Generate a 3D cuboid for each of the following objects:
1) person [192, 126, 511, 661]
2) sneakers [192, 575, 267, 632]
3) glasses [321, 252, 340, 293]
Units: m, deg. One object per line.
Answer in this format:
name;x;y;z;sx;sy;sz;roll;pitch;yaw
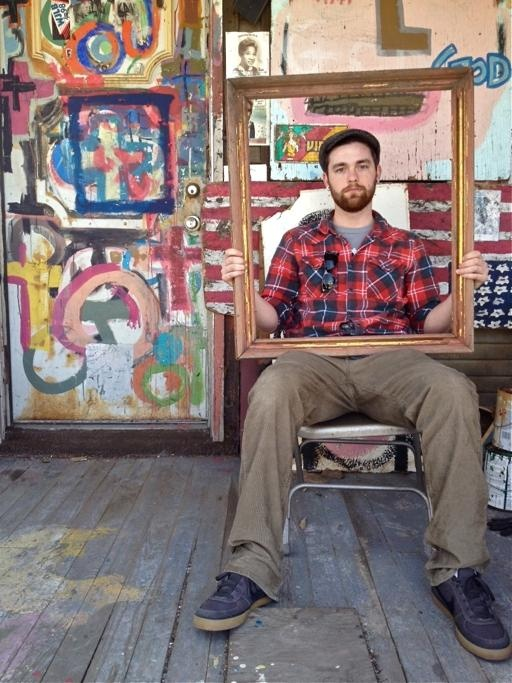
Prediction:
person;0.306;-0.005;1.919;0.831;1.453;1.087;1;8;3
sneakers;-0.057;0.698;1.647;0.102;0.125;0.301;-11;-12;28
glasses;0.273;-0.258;2.220;0.078;0.134;0.033;29;-20;-33
